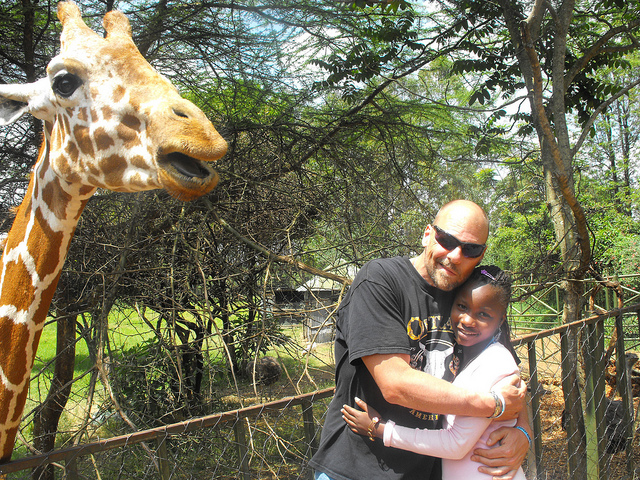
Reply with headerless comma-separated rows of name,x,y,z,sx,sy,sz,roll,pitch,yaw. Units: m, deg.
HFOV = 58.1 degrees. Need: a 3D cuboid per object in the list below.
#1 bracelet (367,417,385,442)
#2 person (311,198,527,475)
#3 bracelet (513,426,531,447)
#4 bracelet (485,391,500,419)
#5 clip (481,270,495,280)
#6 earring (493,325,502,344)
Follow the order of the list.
bracelet,0.357,1.252,3.848,0.138,0.139,0.084,-15,5,-18
person,0.631,0.658,3.889,1.256,1.931,0.514,3,-6,-2
bracelet,1.415,1.375,4.022,0.156,0.126,0.051,8,-8,-36
bracelet,1.142,1.094,3.773,0.048,0.135,0.125,-2,2,-8
clip,1.178,0.250,4.059,0.085,0.033,0.025,33,23,14
earring,1.265,0.691,4.118,0.024,0.110,0.128,-1,-8,34
